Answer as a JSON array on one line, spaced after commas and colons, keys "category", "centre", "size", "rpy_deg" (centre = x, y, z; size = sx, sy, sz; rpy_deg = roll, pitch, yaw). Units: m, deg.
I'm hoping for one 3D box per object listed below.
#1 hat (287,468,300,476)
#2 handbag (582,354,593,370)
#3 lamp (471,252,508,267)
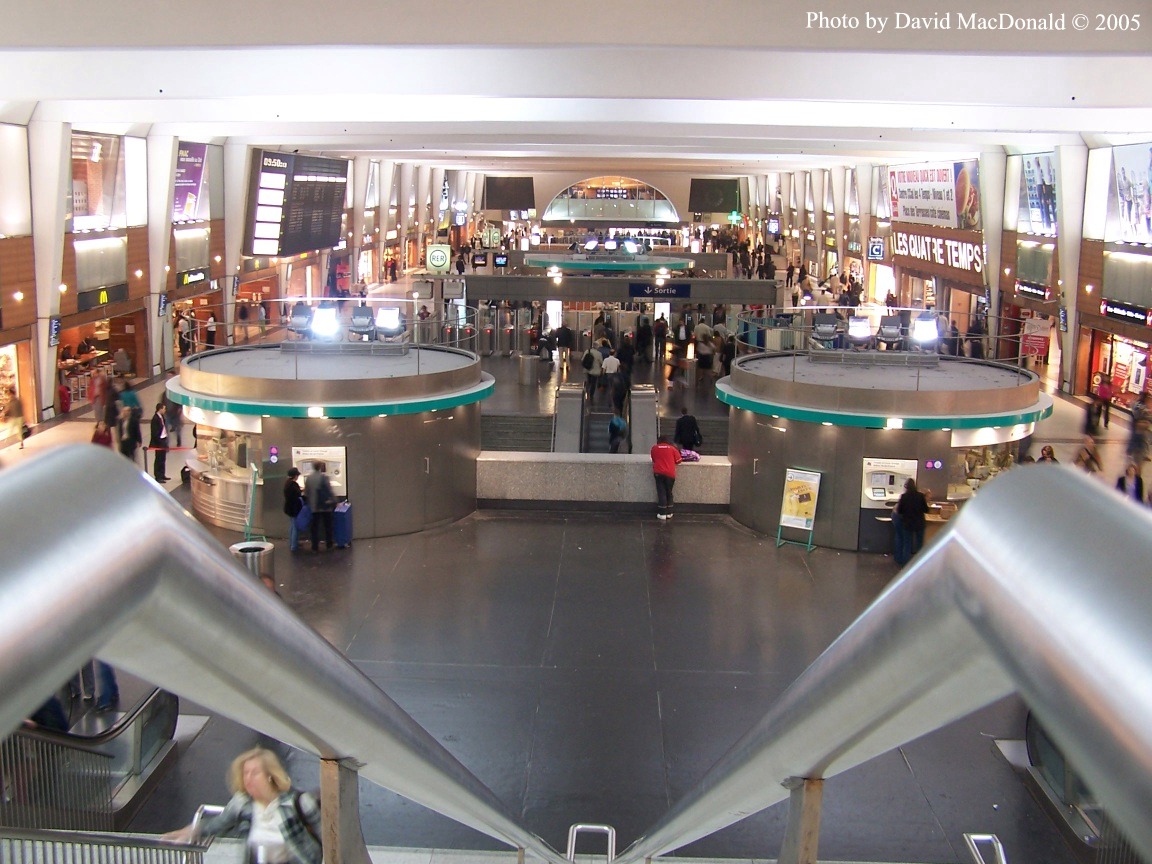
[{"category": "hat", "centre": [-4.817, 0.700, 14.570], "size": [0.143, 0.145, 0.115], "rpy_deg": [-14, 21, -32]}, {"category": "handbag", "centre": [0.322, -1.875, 23.458], "size": [0.161, 0.378, 0.499], "rpy_deg": [0, 6, -35]}, {"category": "lamp", "centre": [-5.000, -9.865, 49.465], "size": [1.649, 0.642, 0.510], "rpy_deg": [-4, 28, -10]}]
